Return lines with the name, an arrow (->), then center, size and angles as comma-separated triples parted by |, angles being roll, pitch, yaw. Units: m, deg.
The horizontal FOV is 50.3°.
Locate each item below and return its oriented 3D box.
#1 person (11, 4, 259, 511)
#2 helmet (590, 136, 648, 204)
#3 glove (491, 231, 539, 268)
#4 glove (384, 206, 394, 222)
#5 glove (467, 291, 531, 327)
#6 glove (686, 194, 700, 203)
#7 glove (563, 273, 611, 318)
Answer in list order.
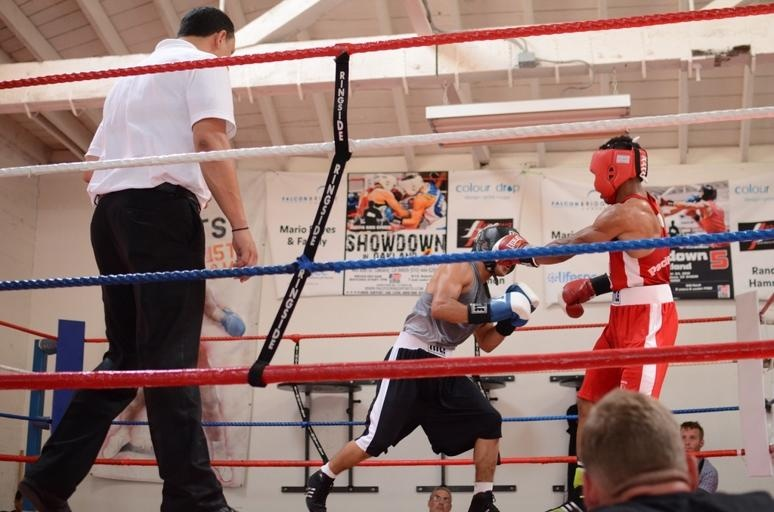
person -> -1.134, -0.033, 3.879 | 1.021, 2.383, 0.576 | -4, 1, -9
helmet -> 1.320, -0.491, 4.780 | 0.338, 0.364, 0.335 | 0, -4, 36
glove -> 0.722, -0.047, 4.670 | 0.250, 0.128, 0.187 | 15, -10, 41
glove -> 0.009, -0.410, 8.010 | 0.076, 0.116, 0.032 | -15, -24, 8
glove -> 0.655, 0.286, 4.647 | 0.351, 0.146, 0.239 | -1, 19, 22
glove -> 2.853, -0.538, 7.696 | 0.078, 0.033, 0.098 | 2, -17, -6
glove -> 1.187, 0.209, 4.889 | 0.331, 0.139, 0.208 | -32, -30, 21
